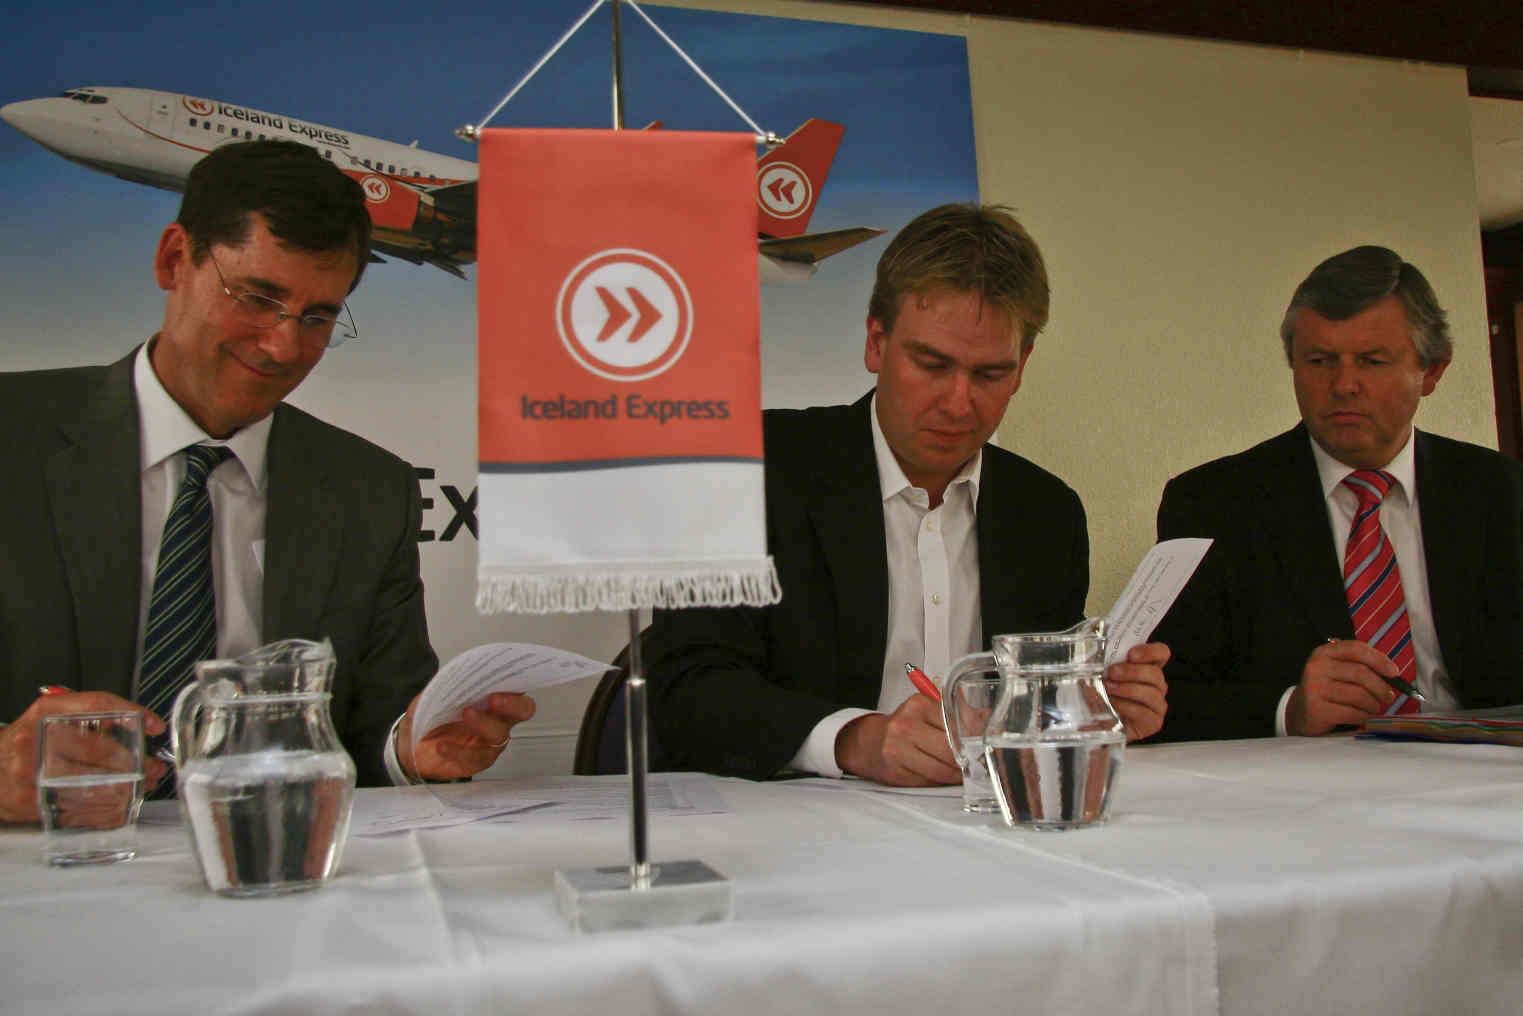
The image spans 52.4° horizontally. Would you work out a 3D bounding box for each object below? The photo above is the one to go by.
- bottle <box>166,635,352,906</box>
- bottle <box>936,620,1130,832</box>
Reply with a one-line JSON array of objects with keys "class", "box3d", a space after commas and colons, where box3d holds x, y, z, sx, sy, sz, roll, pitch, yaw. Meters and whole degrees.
[{"class": "bottle", "box3d": [-0.801, 0.424, 2.463, 0.298, 0.385, 0.276, -2, -5, 0]}, {"class": "bottle", "box3d": [0.469, 0.374, 2.647, 0.320, 0.322, 0.255, -5, -2, 16]}]
